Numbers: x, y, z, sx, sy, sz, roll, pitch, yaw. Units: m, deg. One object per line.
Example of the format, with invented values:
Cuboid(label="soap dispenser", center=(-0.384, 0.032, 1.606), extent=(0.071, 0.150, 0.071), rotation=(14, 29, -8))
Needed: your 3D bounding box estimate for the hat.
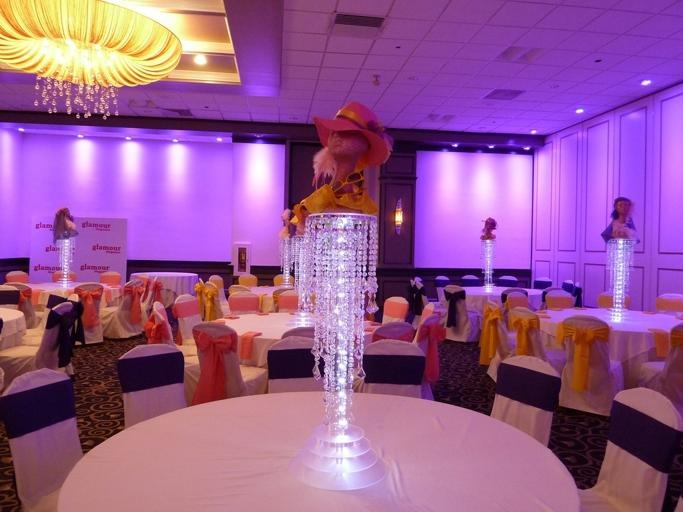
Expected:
Cuboid(label="hat", center=(0.111, -0.898, 3.461), extent=(0.428, 0.219, 0.406), rotation=(17, 17, 3))

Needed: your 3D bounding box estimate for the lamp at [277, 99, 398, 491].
Cuboid(label="lamp", center=(-0.056, 0.166, 3.843), extent=(0.634, 2.455, 2.174), rotation=(0, 9, -6))
